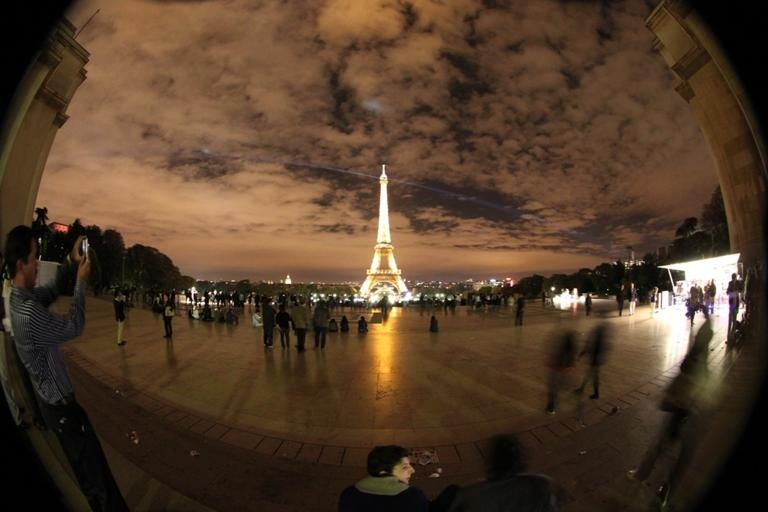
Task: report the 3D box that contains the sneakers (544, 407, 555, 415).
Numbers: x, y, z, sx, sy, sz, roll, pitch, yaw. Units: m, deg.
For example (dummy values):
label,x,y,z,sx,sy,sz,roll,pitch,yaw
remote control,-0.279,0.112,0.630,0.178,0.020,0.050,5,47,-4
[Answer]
label,x,y,z,sx,sy,sz,roll,pitch,yaw
sneakers,2.961,2.734,7.443,0.191,0.079,0.150,0,-2,12

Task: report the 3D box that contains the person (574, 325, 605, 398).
label,x,y,z,sx,sy,sz,roll,pitch,yaw
person,4.075,1.985,8.224,0.454,1.431,1.740,0,-2,28

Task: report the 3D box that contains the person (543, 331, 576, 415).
label,x,y,z,sx,sy,sz,roll,pitch,yaw
person,3.312,2.101,7.874,0.520,1.372,1.122,0,-2,21
